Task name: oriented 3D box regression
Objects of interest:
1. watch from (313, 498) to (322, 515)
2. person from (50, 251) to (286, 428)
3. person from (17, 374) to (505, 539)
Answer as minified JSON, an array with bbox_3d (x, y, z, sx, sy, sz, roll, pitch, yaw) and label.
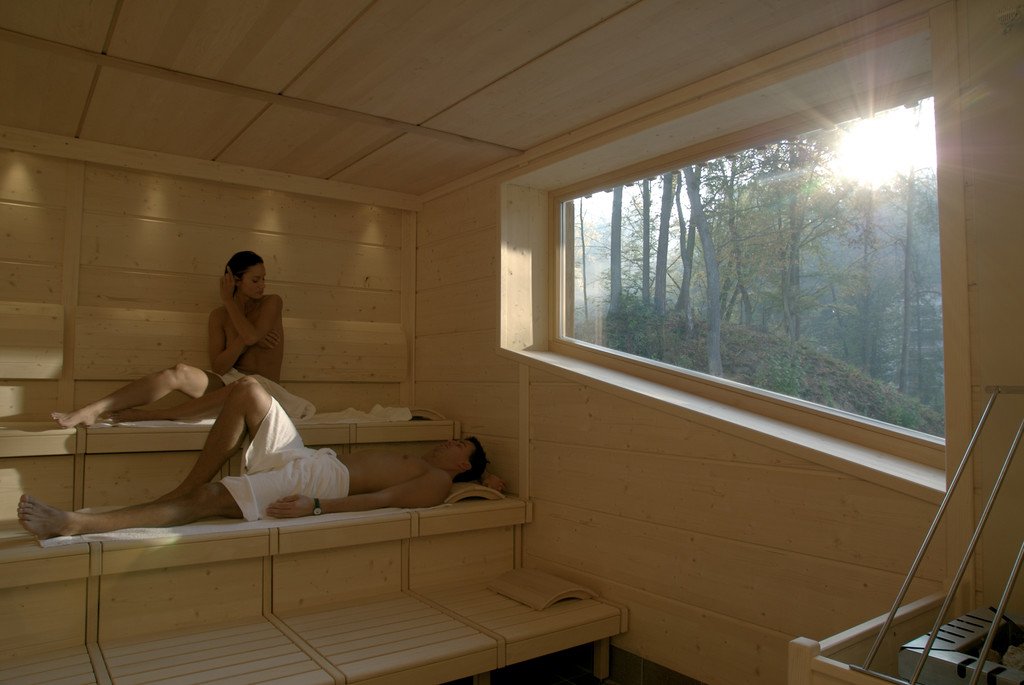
[{"bbox_3d":[-0.809,0.691,3.018,0.037,0.056,0.056,-1,-3,-30],"label":"watch"},{"bbox_3d":[-1.539,-0.016,3.393,0.480,0.780,1.091,-4,-1,35],"label":"person"},{"bbox_3d":[-1.033,0.500,3.248,1.954,0.585,0.700,-2,-3,-14],"label":"person"}]
